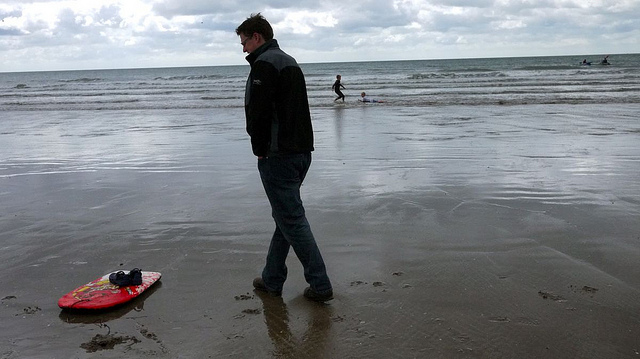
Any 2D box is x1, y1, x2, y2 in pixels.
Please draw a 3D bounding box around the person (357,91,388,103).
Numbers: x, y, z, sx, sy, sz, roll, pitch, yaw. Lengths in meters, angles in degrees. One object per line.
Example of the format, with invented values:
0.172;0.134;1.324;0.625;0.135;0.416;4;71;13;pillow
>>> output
2.809;-4.512;25.806;1.356;0.413;1.039;3;-2;22;person
